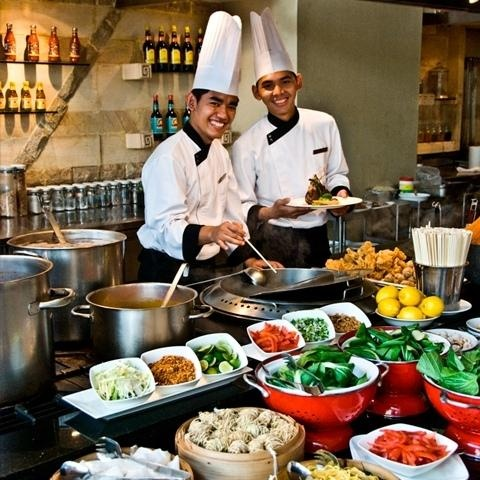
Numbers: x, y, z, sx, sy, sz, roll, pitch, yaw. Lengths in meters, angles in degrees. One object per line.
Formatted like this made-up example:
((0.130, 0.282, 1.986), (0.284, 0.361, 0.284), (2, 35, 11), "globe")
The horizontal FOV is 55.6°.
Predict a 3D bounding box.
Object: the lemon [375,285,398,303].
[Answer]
((0.436, 0.163, 1.393), (0.066, 0.045, 0.050), (-29, -17, 4), "lemon")

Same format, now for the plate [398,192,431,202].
((1.795, -0.442, 4.714), (0.281, 0.121, 0.171), (-2, 4, 17), "plate")

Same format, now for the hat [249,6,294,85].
((0.190, -1.142, 2.665), (0.235, 0.412, 0.165), (-4, 4, 2), "hat")

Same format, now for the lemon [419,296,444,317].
((0.534, 0.186, 1.276), (0.071, 0.052, 0.058), (4, 33, 16), "lemon")

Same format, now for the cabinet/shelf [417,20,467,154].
((2.449, -1.951, 6.124), (1.006, 1.523, 0.531), (0, 28, 13), "cabinet/shelf")

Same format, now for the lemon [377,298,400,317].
((0.423, 0.194, 1.300), (0.060, 0.044, 0.044), (5, -27, 38), "lemon")

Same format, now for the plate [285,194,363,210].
((0.464, -0.207, 2.514), (0.385, 0.059, 0.386), (-2, 3, 10), "plate")

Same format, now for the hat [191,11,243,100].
((-0.102, -0.820, 2.021), (0.227, 0.385, 0.150), (-4, 4, -3), "hat")

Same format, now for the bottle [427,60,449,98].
((2.621, -2.116, 6.041), (0.366, 0.468, 0.066), (-5, 4, -21), "bottle")

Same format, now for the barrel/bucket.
((0.640, 0.141, 1.440), (0.173, 0.123, 0.158), (-4, -3, 0), "barrel/bucket")

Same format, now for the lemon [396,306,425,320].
((0.471, 0.205, 1.264), (0.055, 0.036, 0.040), (-8, 25, 10), "lemon")

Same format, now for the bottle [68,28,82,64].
((-1.344, -1.580, 3.714), (0.102, 0.307, 0.156), (-5, 4, -18), "bottle")

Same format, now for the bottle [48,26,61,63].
((-1.458, -1.517, 3.561), (0.087, 0.261, 0.138), (-6, 4, -22), "bottle")

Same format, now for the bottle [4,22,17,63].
((-1.703, -1.459, 3.374), (0.093, 0.305, 0.157), (-6, 4, -23), "bottle")

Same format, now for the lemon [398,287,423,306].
((0.491, 0.163, 1.316), (0.073, 0.049, 0.058), (1, -12, 16), "lemon")

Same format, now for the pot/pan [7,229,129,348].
((-0.444, 0.107, 1.278), (0.364, 0.266, 0.324), (0, 8, -1), "pot/pan")

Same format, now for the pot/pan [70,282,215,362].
((-0.221, 0.180, 1.082), (0.294, 0.105, 0.208), (1, 5, 5), "pot/pan")

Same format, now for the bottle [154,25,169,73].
((-0.707, -1.721, 4.161), (0.120, 0.388, 0.211), (-4, 4, -3), "bottle")

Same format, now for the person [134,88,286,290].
((-0.196, -0.234, 1.946), (0.527, 0.857, 0.721), (-5, 4, -13), "person")

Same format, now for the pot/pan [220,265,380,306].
((0.190, 0.141, 1.431), (0.502, 0.097, 0.281), (-3, 3, -3), "pot/pan")

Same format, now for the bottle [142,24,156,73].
((-0.816, -1.719, 4.078), (0.110, 0.384, 0.230), (-4, 4, 0), "bottle")
